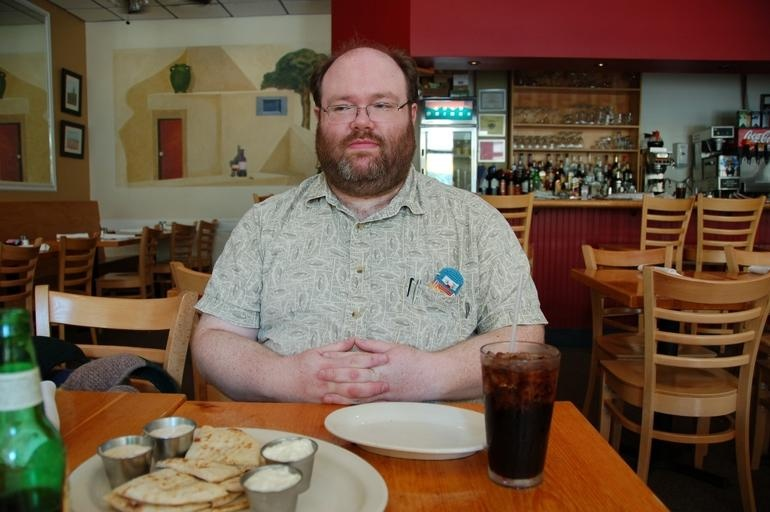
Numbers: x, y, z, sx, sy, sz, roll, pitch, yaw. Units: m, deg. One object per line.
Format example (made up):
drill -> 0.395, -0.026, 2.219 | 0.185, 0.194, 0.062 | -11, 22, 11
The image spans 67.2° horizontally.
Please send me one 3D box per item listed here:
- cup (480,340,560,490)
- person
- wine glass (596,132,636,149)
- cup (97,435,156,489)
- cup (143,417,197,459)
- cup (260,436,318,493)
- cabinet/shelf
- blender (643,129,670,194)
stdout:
cup -> 0.326, 0.375, 1.414 | 0.186, 0.336, 0.134 | 0, 10, 8
person -> -0.093, -0.142, 1.962 | 1.123, 1.172, 0.681 | -4, 10, -19
wine glass -> 2.853, -1.418, 7.195 | 0.286, 0.114, 0.361 | 1, 4, 5
cup -> -0.598, 0.466, 1.338 | 0.127, 0.080, 0.121 | 0, 4, 0
cup -> -0.516, 0.431, 1.399 | 0.108, 0.065, 0.101 | 1, 10, 0
cup -> -0.211, 0.453, 1.314 | 0.132, 0.082, 0.124 | -4, -6, 0
cabinet/shelf -> 2.349, -1.655, 7.196 | 1.340, 1.025, 0.376 | 1, -3, 0
blender -> 3.194, -1.117, 6.812 | 0.296, 0.730, 0.945 | 3, 10, 23
